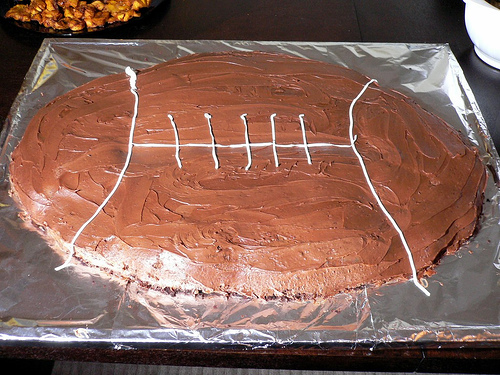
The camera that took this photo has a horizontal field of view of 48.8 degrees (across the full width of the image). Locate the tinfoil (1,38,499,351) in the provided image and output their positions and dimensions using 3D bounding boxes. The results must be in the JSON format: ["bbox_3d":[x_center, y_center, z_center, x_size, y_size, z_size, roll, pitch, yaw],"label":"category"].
[{"bbox_3d":[0.013,0.045,2.557,2.388,0.149,1.349,0,50,-2],"label":"tinfoil"}]
